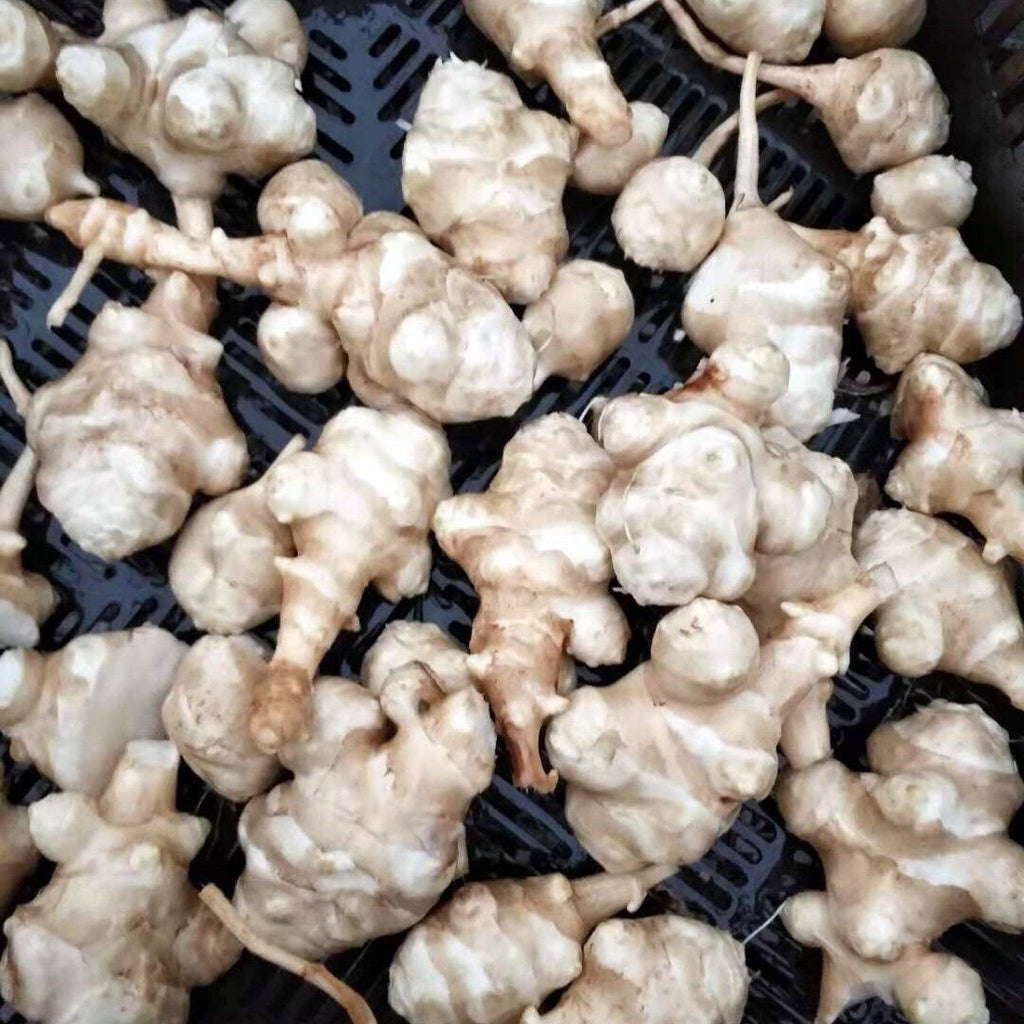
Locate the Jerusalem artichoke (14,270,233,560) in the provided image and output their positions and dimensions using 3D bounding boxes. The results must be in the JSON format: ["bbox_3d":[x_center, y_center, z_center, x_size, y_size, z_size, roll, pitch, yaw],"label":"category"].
[{"bbox_3d":[-0.332,-0.083,1.237,0.222,0.102,0.186,-36,82,-4],"label":"Jerusalem artichoke"}]
